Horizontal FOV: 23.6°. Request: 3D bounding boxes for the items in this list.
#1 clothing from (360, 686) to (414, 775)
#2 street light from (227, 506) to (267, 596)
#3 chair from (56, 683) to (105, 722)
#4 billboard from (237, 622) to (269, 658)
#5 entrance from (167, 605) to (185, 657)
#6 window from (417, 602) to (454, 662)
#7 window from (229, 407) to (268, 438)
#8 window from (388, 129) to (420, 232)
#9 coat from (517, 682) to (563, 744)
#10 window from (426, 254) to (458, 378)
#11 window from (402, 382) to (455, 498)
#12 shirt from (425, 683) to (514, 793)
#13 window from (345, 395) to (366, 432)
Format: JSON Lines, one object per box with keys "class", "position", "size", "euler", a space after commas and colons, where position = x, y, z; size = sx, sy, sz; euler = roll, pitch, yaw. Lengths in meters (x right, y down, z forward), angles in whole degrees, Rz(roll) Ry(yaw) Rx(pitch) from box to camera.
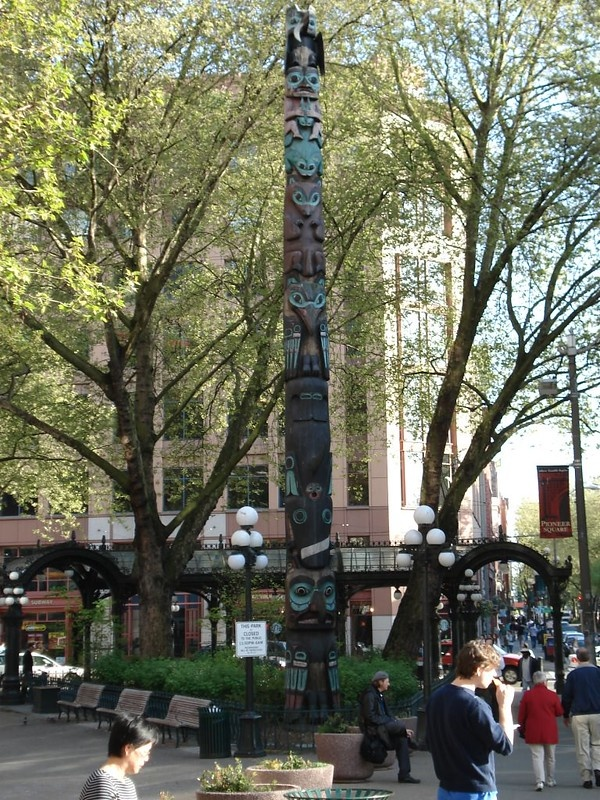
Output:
{"class": "clothing", "position": [1.303, 5.043, 21.855], "size": [0.713, 1.435, 0.550], "euler": [0, -11, -1]}
{"class": "street light", "position": [-0.920, 2.835, 25.604], "size": [0.457, 1.835, 0.808], "euler": [-7, -9, 40]}
{"class": "chair", "position": [-4.759, 6.645, 31.512], "size": [0.515, 0.699, 1.140], "euler": [18, -29, -33]}
{"class": "billboard", "position": [-0.808, 4.058, 24.203], "size": [0.604, 0.561, 0.619], "euler": [-2, -26, 0]}
{"class": "entrance", "position": [-4.999, 9.126, 57.524], "size": [0.506, 1.995, 0.501], "euler": [-6, -9, -7]}
{"class": "window", "position": [3.687, 6.849, 40.837], "size": [0.554, 2.147, 0.535], "euler": [11, -12, 22]}
{"class": "window", "position": [-1.271, 0.536, 35.702], "size": [0.817, 0.321, 1.072], "euler": [2, 8, 2]}
{"class": "window", "position": [2.464, -5.052, 33.292], "size": [0.749, 1.903, 0.752], "euler": [-3, -3, -31]}
{"class": "coat", "position": [3.606, 4.716, 21.530], "size": [0.651, 0.890, 0.487], "euler": [-3, -12, 13]}
{"class": "window", "position": [4.034, -2.721, 40.038], "size": [0.488, 2.871, 0.719], "euler": [2, 2, 7]}
{"class": "window", "position": [3.213, 1.080, 33.742], "size": [0.777, 3.184, 1.071], "euler": [2, -16, 23]}
{"class": "shirt", "position": [1.748, 3.513, 14.930], "size": [0.885, 1.100, 0.440], "euler": [-3, -12, 11]}
{"class": "window", "position": [1.644, 0.396, 39.396], "size": [0.787, 1.022, 0.582], "euler": [2, -7, -8]}
